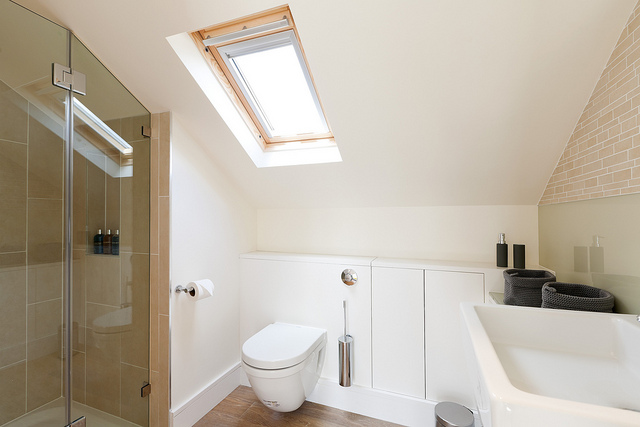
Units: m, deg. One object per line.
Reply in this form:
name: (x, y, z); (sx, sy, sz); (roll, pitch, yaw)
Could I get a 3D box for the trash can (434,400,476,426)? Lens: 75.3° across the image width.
trash can: (0.858, 1.294, 2.669); (0.142, 0.148, 0.156); (0, -1, -20)

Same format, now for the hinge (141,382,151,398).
hinge: (-1.145, 1.155, 2.716); (0.007, 0.092, 0.073); (-3, -5, 27)

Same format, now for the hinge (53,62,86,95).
hinge: (-1.397, -0.741, 2.287); (0.027, 0.147, 0.205); (-4, -6, 20)

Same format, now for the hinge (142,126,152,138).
hinge: (-1.155, -0.537, 2.744); (0.010, 0.065, 0.088); (-1, 3, 17)

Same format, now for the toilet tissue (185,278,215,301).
toilet tissue: (-0.830, 0.523, 2.861); (0.143, 0.129, 0.145); (-3, -1, 20)

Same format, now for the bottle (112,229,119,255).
bottle: (-1.248, 0.176, 2.525); (0.019, 0.152, 0.053); (-2, -5, 16)

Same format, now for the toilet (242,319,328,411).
toilet: (-0.256, 1.109, 2.929); (0.490, 0.461, 0.654); (0, 6, 24)

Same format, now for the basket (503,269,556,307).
basket: (1.229, 0.440, 2.451); (0.198, 0.175, 0.260); (-3, -10, 27)
